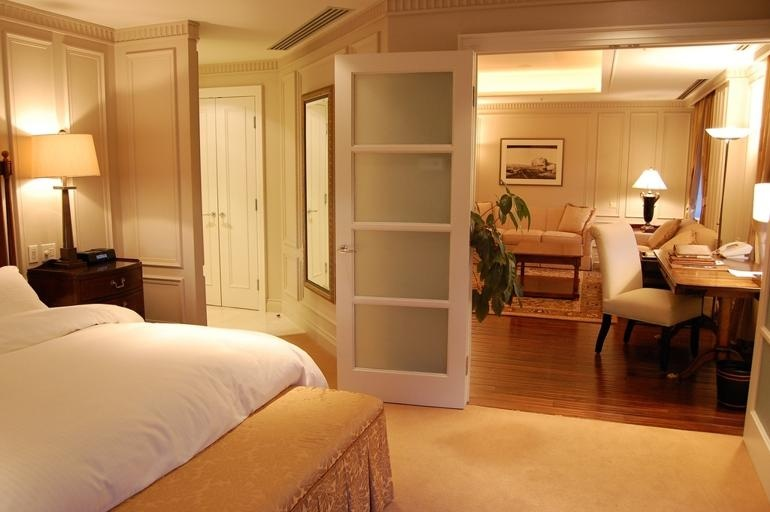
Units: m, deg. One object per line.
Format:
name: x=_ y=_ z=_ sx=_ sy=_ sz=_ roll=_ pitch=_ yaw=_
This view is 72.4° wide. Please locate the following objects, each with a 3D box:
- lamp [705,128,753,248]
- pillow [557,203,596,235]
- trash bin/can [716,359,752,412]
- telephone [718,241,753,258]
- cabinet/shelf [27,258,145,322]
lamp: x=4.311 y=-0.906 z=6.750 sx=0.392 sy=1.490 sz=0.803 roll=2 pitch=11 yaw=17
pillow: x=3.236 y=-0.637 z=9.006 sx=0.503 sy=0.514 sz=0.221 roll=24 pitch=7 yaw=42
trash bin/can: x=2.836 y=1.028 z=4.315 sx=0.221 sy=0.345 sz=0.281 roll=6 pitch=12 yaw=32
telephone: x=3.520 y=-0.067 z=5.289 sx=0.247 sy=0.105 sz=0.175 roll=-7 pitch=27 yaw=-3
cabinet/shelf: x=-2.526 y=0.382 z=4.695 sx=0.473 sy=0.659 sz=0.693 roll=3 pitch=9 yaw=22
